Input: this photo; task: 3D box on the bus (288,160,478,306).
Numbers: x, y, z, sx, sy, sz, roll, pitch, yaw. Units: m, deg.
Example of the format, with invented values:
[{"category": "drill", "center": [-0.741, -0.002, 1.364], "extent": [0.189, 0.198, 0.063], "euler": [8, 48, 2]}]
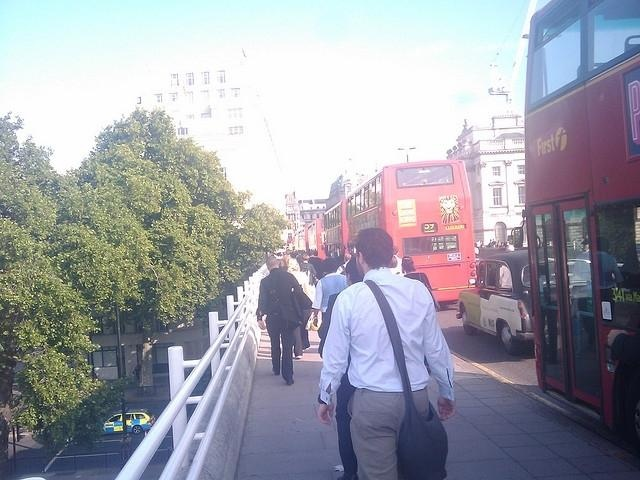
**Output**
[{"category": "bus", "center": [2.281, -0.115, 21.700], "extent": [3.483, 4.310, 13.158], "euler": [0, -1, -14]}]

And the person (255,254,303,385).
[{"category": "person", "center": [-0.673, 1.352, 8.599], "extent": [0.749, 2.180, 0.981], "euler": [-1, 1, -10]}]

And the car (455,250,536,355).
[{"category": "car", "center": [4.239, 1.270, 11.427], "extent": [1.373, 2.018, 3.693], "euler": [-3, -1, -6]}]
